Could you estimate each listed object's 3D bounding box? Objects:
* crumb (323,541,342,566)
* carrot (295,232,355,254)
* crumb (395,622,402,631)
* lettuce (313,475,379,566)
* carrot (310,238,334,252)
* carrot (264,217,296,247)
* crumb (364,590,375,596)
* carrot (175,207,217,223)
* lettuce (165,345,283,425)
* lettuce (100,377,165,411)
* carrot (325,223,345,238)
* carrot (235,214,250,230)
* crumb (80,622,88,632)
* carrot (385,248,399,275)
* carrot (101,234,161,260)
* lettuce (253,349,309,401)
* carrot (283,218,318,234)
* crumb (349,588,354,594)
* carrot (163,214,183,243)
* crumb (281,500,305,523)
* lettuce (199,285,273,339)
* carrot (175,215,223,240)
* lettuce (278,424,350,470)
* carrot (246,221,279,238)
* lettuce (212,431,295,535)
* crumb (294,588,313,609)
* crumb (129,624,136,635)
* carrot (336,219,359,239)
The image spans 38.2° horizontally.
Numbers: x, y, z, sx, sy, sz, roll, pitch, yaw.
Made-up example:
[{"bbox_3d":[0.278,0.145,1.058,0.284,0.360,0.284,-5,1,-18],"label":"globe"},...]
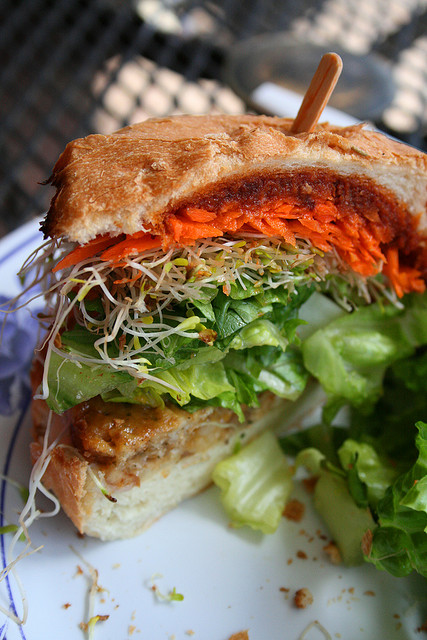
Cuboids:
[{"bbox_3d":[0.338,0.651,1.724,0.044,0.012,0.042,30,26,-3],"label":"crumb"},{"bbox_3d":[0.288,-0.203,1.598,0.095,0.025,0.021,20,31,-2],"label":"carrot"},{"bbox_3d":[0.479,0.793,1.593,0.012,0.004,0.018,7,21,11],"label":"crumb"},{"bbox_3d":[0.370,0.564,1.757,0.140,0.084,0.230,-23,53,-4],"label":"lettuce"},{"bbox_3d":[0.281,-0.197,1.601,0.052,0.013,0.027,24,24,-16],"label":"carrot"},{"bbox_3d":[0.174,-0.212,1.535,0.090,0.021,0.048,45,44,-24],"label":"carrot"},{"bbox_3d":[0.420,0.733,1.654,0.026,0.004,0.014,12,53,-1],"label":"crumb"},{"bbox_3d":[-0.036,-0.246,1.435,0.080,0.018,0.038,11,59,1],"label":"carrot"},{"bbox_3d":[0.107,0.150,1.729,0.294,0.088,0.379,-5,17,8],"label":"lettuce"},{"bbox_3d":[-0.196,0.191,1.563,0.113,0.107,0.035,8,93,-4],"label":"lettuce"},{"bbox_3d":[0.309,-0.228,1.577,0.047,0.013,0.029,22,55,-35],"label":"carrot"},{"bbox_3d":[0.069,-0.239,1.489,0.044,0.011,0.037,1,86,-5],"label":"carrot"},{"bbox_3d":[-0.315,0.751,1.510,0.013,0.005,0.015,-3,46,-31],"label":"crumb"},{"bbox_3d":[0.505,-0.172,1.756,0.039,0.015,0.061,5,88,-48],"label":"carrot"},{"bbox_3d":[-0.190,-0.168,1.423,0.139,0.029,0.049,-26,63,-25],"label":"carrot"},{"bbox_3d":[0.176,0.153,1.818,0.161,0.048,0.246,-7,24,-10],"label":"lettuce"},{"bbox_3d":[0.217,-0.235,1.552,0.060,0.034,0.014,17,80,-4],"label":"carrot"},{"bbox_3d":[0.372,0.725,1.653,0.013,0.004,0.013,9,54,-4],"label":"crumb"},{"bbox_3d":[-0.091,-0.214,1.409,0.014,0.049,0.058,-2,38,24],"label":"carrot"},{"bbox_3d":[0.239,0.564,1.830,0.064,0.017,0.063,29,46,27],"label":"crumb"},{"bbox_3d":[0.044,-0.010,1.590,0.146,0.054,0.136,31,74,-8],"label":"lettuce"},{"bbox_3d":[-0.034,-0.217,1.421,0.081,0.018,0.052,3,65,-13],"label":"carrot"},{"bbox_3d":[0.299,0.417,1.971,0.191,0.215,0.059,-35,108,-2],"label":"lettuce"},{"bbox_3d":[0.113,-0.216,1.492,0.064,0.033,0.014,29,57,-28],"label":"carrot"},{"bbox_3d":[0.108,0.477,1.829,0.245,0.074,0.307,35,33,-6],"label":"lettuce"},{"bbox_3d":[0.236,0.724,1.605,0.036,0.011,0.040,7,38,-1],"label":"crumb"},{"bbox_3d":[-0.199,0.764,1.521,0.015,0.006,0.022,2,54,-8],"label":"crumb"},{"bbox_3d":[0.347,-0.238,1.597,0.021,0.025,0.081,-38,72,-22],"label":"carrot"}]
